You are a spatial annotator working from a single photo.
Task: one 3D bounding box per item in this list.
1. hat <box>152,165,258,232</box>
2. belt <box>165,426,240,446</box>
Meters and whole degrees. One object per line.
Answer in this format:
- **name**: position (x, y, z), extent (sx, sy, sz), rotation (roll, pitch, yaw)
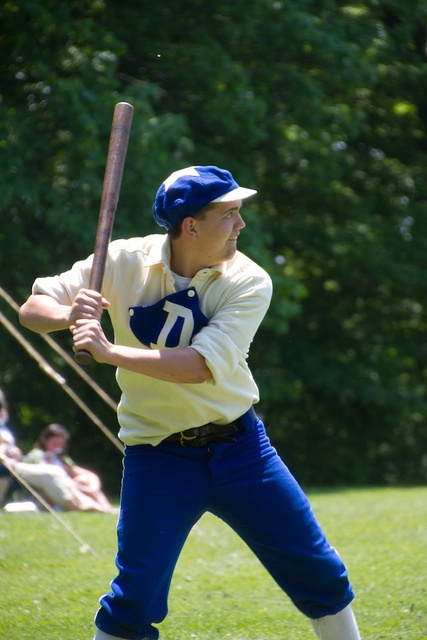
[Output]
- **hat**: position (-0.074, -0.514, 3.740), extent (0.418, 0.166, 0.256), rotation (-19, 8, 12)
- **belt**: position (-0.031, 0.477, 3.713), extent (0.197, 0.051, 0.125), rotation (-12, 1, -9)
